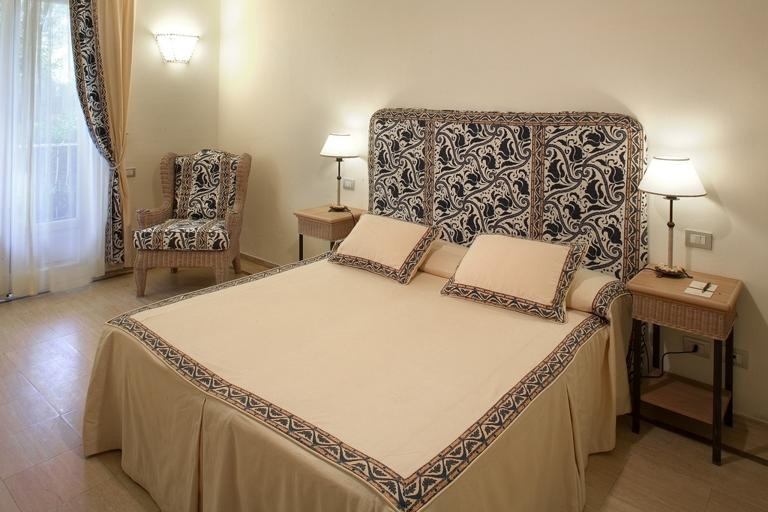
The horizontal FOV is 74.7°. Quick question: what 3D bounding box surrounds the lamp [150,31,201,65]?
[{"bbox_3d":[-2.218,-2.235,5.466,0.327,0.096,0.354,-14,-27,-9],"label":"lamp"}]
